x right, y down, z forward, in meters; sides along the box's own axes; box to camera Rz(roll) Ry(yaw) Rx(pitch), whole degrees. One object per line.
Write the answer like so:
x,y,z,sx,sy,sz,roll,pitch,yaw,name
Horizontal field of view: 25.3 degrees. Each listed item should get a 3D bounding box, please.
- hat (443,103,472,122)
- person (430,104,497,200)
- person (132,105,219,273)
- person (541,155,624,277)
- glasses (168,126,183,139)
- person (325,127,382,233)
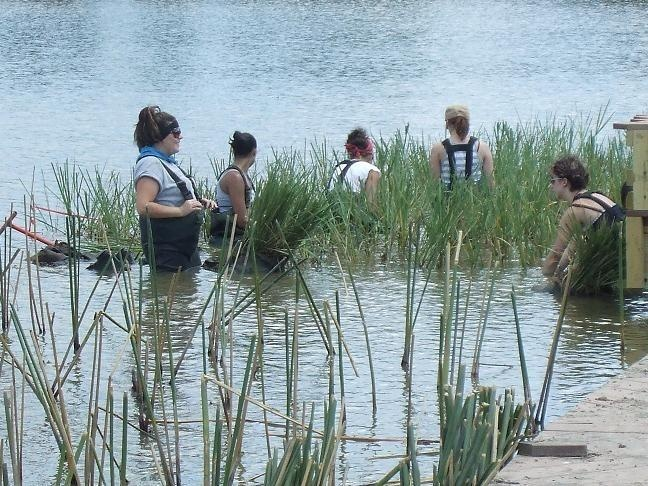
1.157,-1.143,12.501,0.188,0.145,0.276,1,6,-1,hat
1.213,-0.846,12.557,0.554,0.739,0.298,1,7,4,person
-1.223,-0.420,11.403,0.577,1.343,0.430,-2,7,-20,person
1.958,-0.171,11.033,0.442,0.971,0.740,-4,8,-32,person
-1.196,-0.896,11.384,0.040,0.107,0.111,32,21,35,glasses
0.276,-0.585,12.796,0.461,0.879,0.667,1,7,2,person
